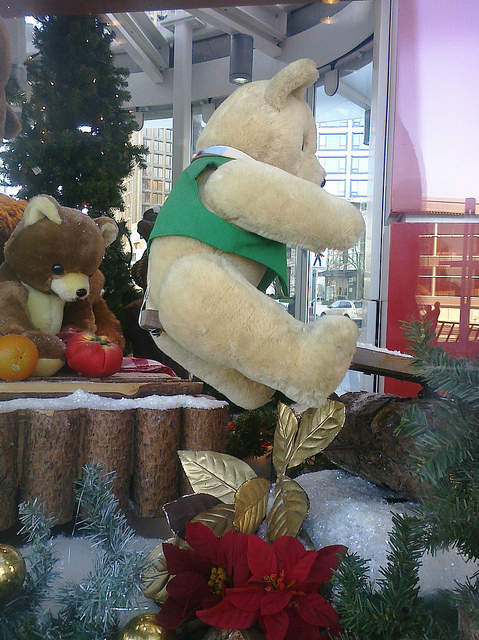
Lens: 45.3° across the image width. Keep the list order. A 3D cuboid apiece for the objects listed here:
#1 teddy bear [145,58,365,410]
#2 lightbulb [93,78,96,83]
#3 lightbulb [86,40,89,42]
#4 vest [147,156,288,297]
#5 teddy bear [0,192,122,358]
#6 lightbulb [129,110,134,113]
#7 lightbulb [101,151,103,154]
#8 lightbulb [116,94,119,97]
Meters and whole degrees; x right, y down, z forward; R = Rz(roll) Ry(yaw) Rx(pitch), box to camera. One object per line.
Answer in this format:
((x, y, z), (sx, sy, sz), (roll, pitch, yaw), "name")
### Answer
((-0.027, -0.148, 1.212), (0.489, 0.716, 0.403), (2, 10, -13), "teddy bear")
((-0.789, -1.299, 3.130), (0.010, 0.022, 0.011), (0, -24, 22), "lightbulb")
((-0.828, -1.528, 3.146), (0.013, 0.009, 0.006), (3, 3, -13), "lightbulb")
((-0.008, -0.194, 1.233), (0.265, 0.277, 0.292), (-6, 14, -24), "vest")
((-0.632, -0.151, 1.936), (0.304, 0.493, 0.669), (5, 3, 4), "teddy bear")
((-0.627, -1.218, 3.352), (0.021, 0.007, 0.030), (-5, -2, 35), "lightbulb")
((-0.751, -0.918, 3.146), (0.021, 0.019, 0.008), (10, 2, 1), "lightbulb")
((-0.690, -1.273, 3.259), (0.010, 0.008, 0.012), (6, -21, 16), "lightbulb")
